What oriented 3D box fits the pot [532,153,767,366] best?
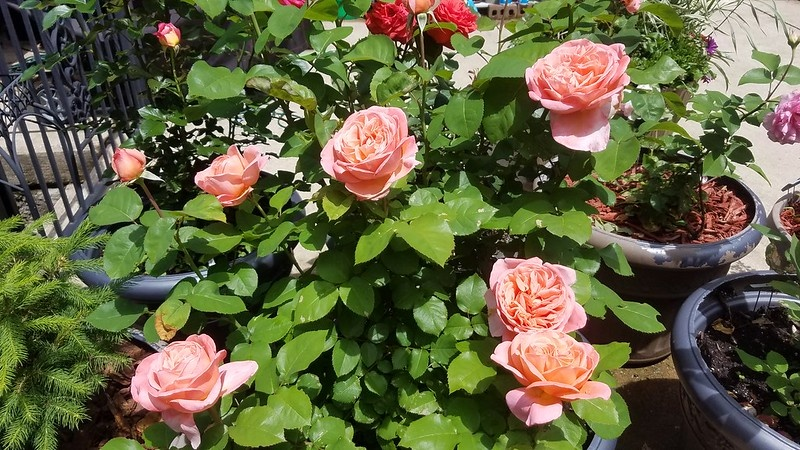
[{"bbox_3d":[1.512,0.299,3.203,1.159,0.917,1.146,-5,37,4],"label":"pot"}]

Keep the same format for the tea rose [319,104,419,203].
[{"bbox_3d":[-0.091,-0.276,1.843,0.338,0.344,0.220,4,-33,16],"label":"tea rose"}]

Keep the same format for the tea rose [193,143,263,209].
[{"bbox_3d":[-0.618,-0.191,1.937,0.187,0.117,0.198,-19,2,30],"label":"tea rose"}]

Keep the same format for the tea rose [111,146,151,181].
[{"bbox_3d":[-1.142,-0.248,2.050,0.115,0.156,0.134,8,14,-23],"label":"tea rose"}]

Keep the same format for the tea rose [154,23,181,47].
[{"bbox_3d":[-1.173,-0.965,2.466,0.102,0.121,0.185,6,15,-29],"label":"tea rose"}]
